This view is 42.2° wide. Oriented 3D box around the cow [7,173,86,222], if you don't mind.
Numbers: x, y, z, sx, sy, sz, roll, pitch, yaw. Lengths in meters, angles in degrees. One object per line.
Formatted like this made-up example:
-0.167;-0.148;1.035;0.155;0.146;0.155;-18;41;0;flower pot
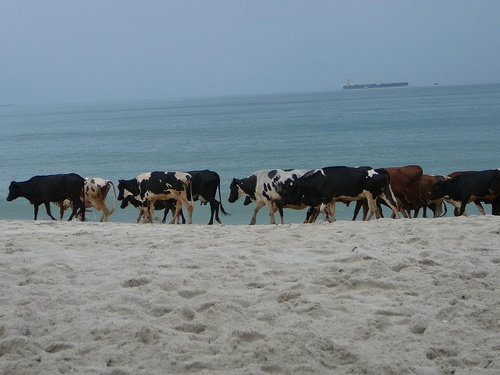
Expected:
-5.618;0.260;18.337;2.287;1.316;0.706;0;-2;14;cow

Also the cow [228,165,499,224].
1.302;0.235;17.064;1.680;1.461;4.683;3;-4;-44;cow
